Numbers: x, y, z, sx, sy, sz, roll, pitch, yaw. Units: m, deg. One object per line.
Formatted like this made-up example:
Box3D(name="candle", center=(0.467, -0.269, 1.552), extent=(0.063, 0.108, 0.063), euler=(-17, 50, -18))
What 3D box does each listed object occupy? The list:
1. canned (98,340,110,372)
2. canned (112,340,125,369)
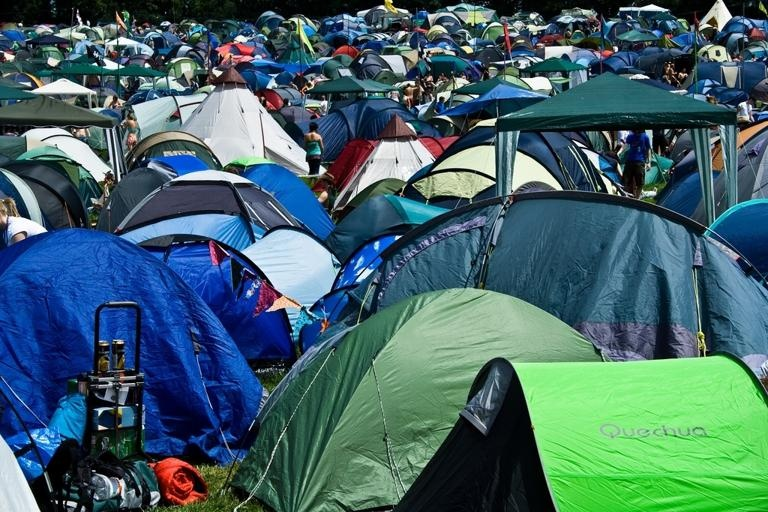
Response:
Box3D(name="canned", center=(-2.297, 0.815, 6.975), extent=(0.084, 0.258, 0.063), euler=(-2, 5, -27))
Box3D(name="canned", center=(-2.211, 0.803, 7.083), extent=(0.088, 0.235, 0.104), euler=(-2, 4, -19))
